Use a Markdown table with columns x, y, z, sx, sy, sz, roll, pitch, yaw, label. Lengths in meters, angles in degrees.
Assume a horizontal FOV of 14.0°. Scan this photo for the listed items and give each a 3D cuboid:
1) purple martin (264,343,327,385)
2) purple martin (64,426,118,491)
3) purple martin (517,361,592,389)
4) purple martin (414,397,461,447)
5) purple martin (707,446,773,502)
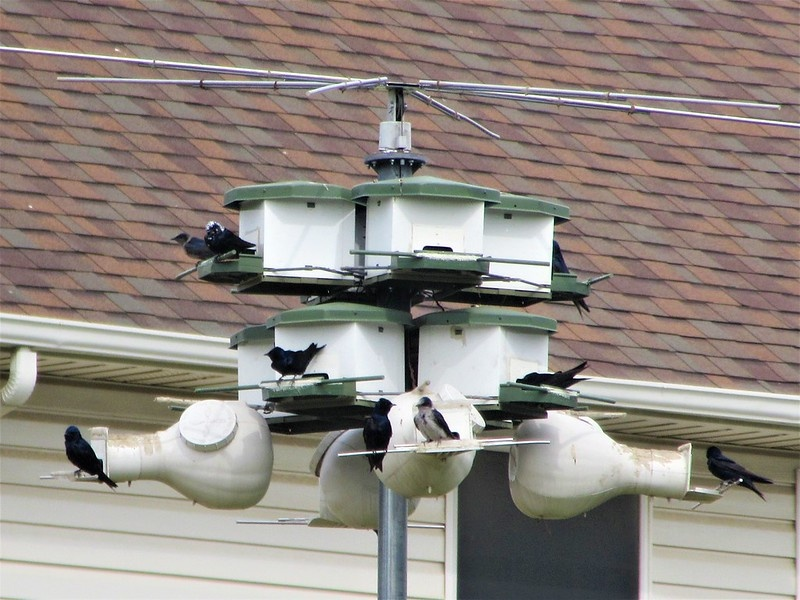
| x | y | z | sx | sy | sz | roll | pitch | yaw | label |
| --- | --- | --- | --- | --- | --- | --- | --- | --- | --- |
| -0.845 | 0.515 | 25.787 | 0.280 | 0.271 | 0.420 | 1 | 0 | 34 | purple martin |
| -2.493 | 1.287 | 25.903 | 0.310 | 0.470 | 0.519 | 1 | 0 | -44 | purple martin |
| 1.232 | 0.617 | 26.046 | 0.608 | 0.207 | 0.098 | -10 | 40 | -18 | purple martin |
| 0.261 | 0.984 | 25.334 | 0.262 | 0.337 | 0.430 | -6 | -8 | 36 | purple martin |
| 2.650 | 1.445 | 27.111 | 0.273 | 0.477 | 0.812 | 8 | -8 | -40 | purple martin |
